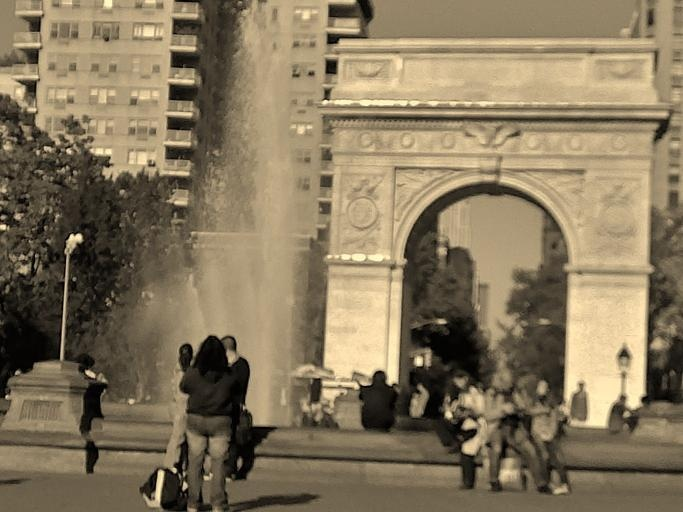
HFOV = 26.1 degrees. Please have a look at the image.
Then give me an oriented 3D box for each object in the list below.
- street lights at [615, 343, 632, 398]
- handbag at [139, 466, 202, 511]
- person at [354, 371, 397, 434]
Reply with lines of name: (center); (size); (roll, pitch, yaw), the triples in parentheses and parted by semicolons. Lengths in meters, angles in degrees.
street lights: (9.221, 3.726, 48.553); (0.481, 1.654, 0.671); (-1, 5, 26)
handbag: (-3.695, 4.917, 31.563); (0.994, 0.894, 0.930); (14, -12, -37)
person: (0.865, 3.509, 35.384); (0.894, 1.373, 0.940); (-3, 4, -4)
